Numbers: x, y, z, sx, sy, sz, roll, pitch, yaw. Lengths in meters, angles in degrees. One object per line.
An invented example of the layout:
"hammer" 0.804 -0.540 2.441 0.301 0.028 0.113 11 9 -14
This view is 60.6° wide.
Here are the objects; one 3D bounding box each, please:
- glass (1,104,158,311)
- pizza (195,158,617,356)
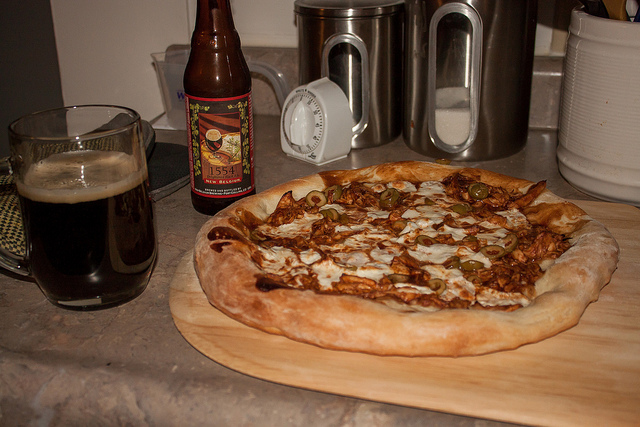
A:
"glass" -0.470 -0.018 1.141 0.256 0.439 0.265 5 20 6
"pizza" 0.184 0.069 1.335 0.958 0.125 0.804 0 26 6
